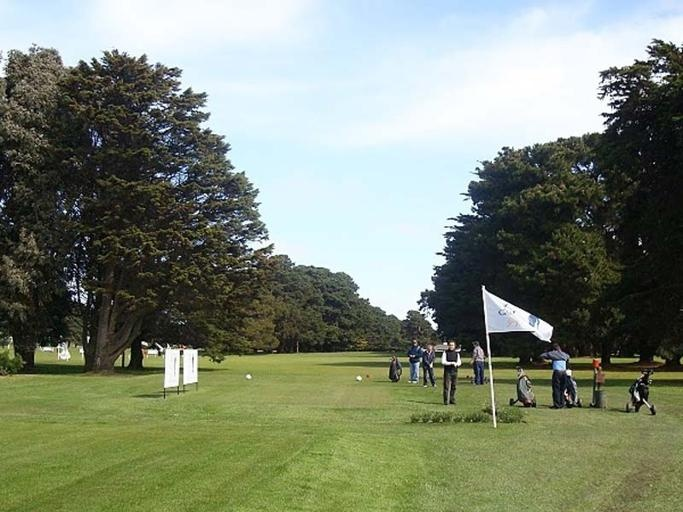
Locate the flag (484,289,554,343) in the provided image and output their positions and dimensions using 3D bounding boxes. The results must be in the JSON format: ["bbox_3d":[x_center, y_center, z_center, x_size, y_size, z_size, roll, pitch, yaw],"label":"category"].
[{"bbox_3d":[5.449,1.876,19.248,1.231,1.239,3.116,-6,-14,31],"label":"flag"}]

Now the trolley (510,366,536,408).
[{"bbox_3d":[6.727,4.922,22.369,0.891,1.376,0.790,-3,-21,31],"label":"trolley"}]
